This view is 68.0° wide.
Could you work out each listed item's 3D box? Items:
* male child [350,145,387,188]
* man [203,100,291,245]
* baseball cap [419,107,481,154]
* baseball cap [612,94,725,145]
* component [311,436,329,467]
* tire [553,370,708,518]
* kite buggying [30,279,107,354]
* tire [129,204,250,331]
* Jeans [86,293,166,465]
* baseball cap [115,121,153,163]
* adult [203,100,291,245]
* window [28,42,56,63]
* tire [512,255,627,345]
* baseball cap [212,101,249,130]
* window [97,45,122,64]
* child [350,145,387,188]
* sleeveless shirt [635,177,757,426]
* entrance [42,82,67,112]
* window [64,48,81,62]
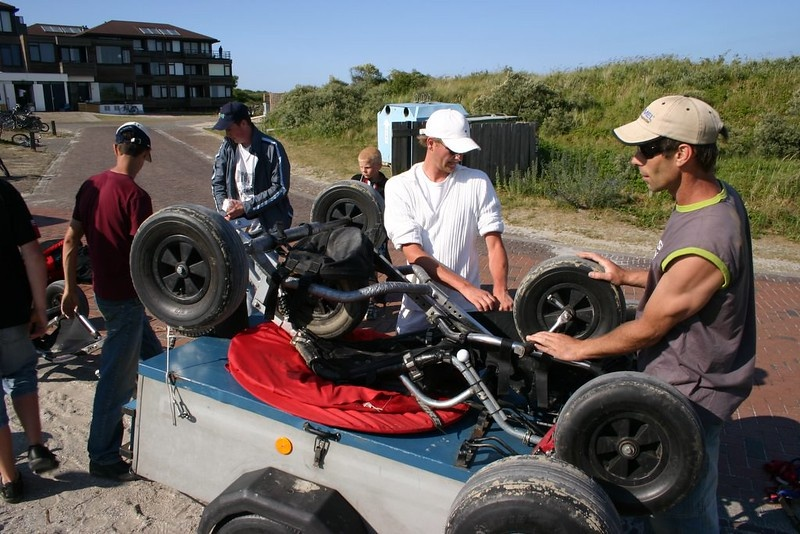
[{"bbox_3d":[-0.397,-1.331,7.856,0.554,0.551,0.350,19,42,21],"label":"male child"},{"bbox_3d":[-1.629,-0.993,6.406,0.852,1.483,0.894,1,16,1],"label":"man"},{"bbox_3d":[0.397,-1.084,4.607,0.514,0.297,0.356,24,28,36],"label":"baseball cap"},{"bbox_3d":[1.622,-0.905,3.634,0.628,0.287,0.445,4,23,19],"label":"baseball cap"},{"bbox_3d":[-0.491,1.149,3.664,0.105,0.216,0.037,4,15,11],"label":"component"},{"bbox_3d":[1.288,1.012,3.314,0.597,0.668,0.270,17,11,12],"label":"tire"},{"bbox_3d":[-3.555,0.570,6.318,0.641,0.425,0.930,-15,55,-30],"label":"kite buggying"},{"bbox_3d":[-1.447,0.014,4.040,0.733,0.807,0.282,-17,1,24],"label":"tire"},{"bbox_3d":[-2.231,0.998,4.973,0.317,1.250,0.426,9,-7,-41],"label":"Jeans"},{"bbox_3d":[-2.205,-0.959,4.918,0.226,0.394,0.206,-4,-8,-39],"label":"baseball cap"},{"bbox_3d":[-1.623,-0.994,6.396,0.826,1.482,0.902,5,17,11],"label":"adult"},{"bbox_3d":[-34.203,-20.479,56.463,0.116,1.717,2.231,5,13,28],"label":"window"},{"bbox_3d":[1.210,0.257,4.227,0.558,0.639,0.215,0,7,12],"label":"tire"},{"bbox_3d":[-1.722,-1.548,6.117,0.227,0.213,0.363,16,33,34],"label":"baseball cap"},{"bbox_3d":[-29.593,-21.546,60.066,0.290,1.645,2.145,6,12,38],"label":"window"},{"bbox_3d":[-0.378,-1.325,7.851,0.558,0.553,0.354,19,43,23],"label":"child"},{"bbox_3d":[1.781,0.227,3.511,0.624,1.286,0.402,7,16,21],"label":"sleeveless shirt"},{"bbox_3d":[-32.669,-16.168,56.142,0.466,2.549,2.272,6,17,18],"label":"entrance"},{"bbox_3d":[-32.160,-20.770,58.065,0.106,1.539,1.606,3,6,44],"label":"window"}]
